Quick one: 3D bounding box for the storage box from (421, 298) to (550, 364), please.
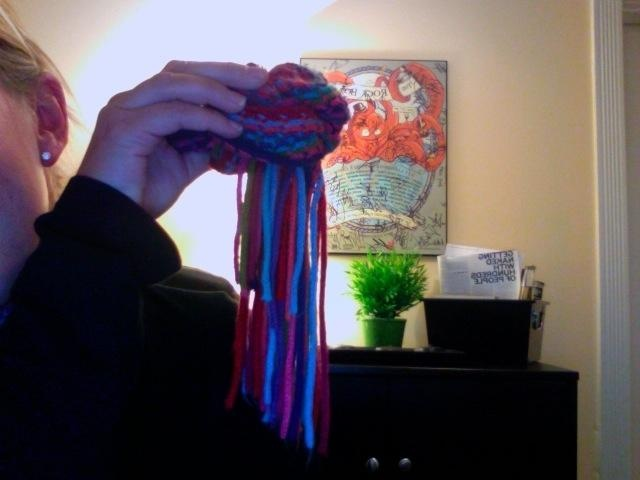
[{"bbox_3d":[0.438,0.240,1.619,0.253,0.129,0.177,-1,-8,17],"label":"storage box"}]

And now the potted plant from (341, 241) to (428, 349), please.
[{"bbox_3d":[0.197,0.165,1.789,0.284,0.325,0.271,-1,-6,11],"label":"potted plant"}]
